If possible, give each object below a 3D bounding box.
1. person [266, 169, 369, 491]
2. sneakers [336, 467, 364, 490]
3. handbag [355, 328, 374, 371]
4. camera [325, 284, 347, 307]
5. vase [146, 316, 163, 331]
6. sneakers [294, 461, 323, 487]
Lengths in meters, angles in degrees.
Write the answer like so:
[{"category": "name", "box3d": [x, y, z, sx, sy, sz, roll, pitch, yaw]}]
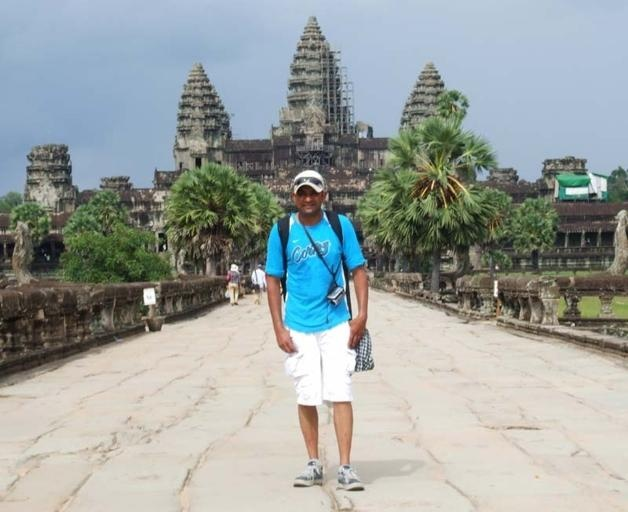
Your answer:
[{"category": "person", "box3d": [0.031, 0.552, 7.456, 0.837, 2.526, 0.618, -1, 1, 1]}, {"category": "sneakers", "box3d": [0.264, 1.740, 7.227, 0.137, 0.176, 0.280, -3, 2, -44]}, {"category": "handbag", "box3d": [0.389, 0.800, 7.634, 0.239, 0.402, 0.136, 4, -7, -29]}, {"category": "camera", "box3d": [0.191, 0.304, 7.439, 0.175, 0.119, 0.127, -45, 11, -32]}, {"category": "vase", "box3d": [-3.723, 1.548, 21.350, 0.364, 0.332, 0.476, -2, 2, -12]}, {"category": "sneakers", "box3d": [-0.018, 1.753, 7.412, 0.311, 0.193, 0.113, 3, -5, -27]}]
